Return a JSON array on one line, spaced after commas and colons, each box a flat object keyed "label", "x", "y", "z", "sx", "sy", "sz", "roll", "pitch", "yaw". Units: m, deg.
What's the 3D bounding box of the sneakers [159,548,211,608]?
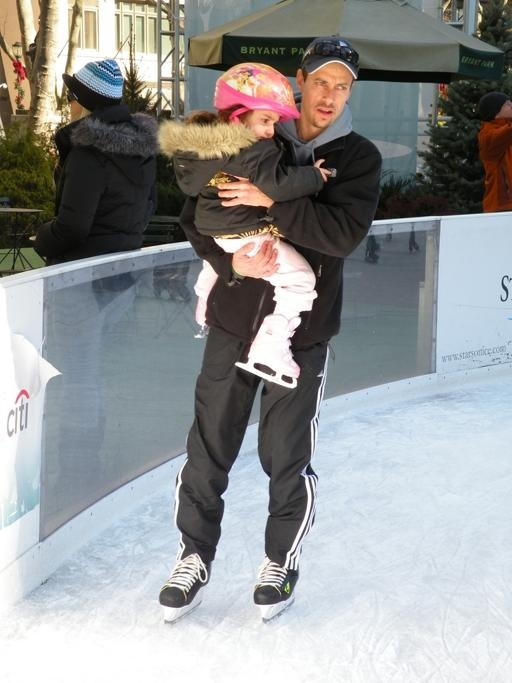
[{"label": "sneakers", "x": -0.208, "y": 0.762, "z": 2.187, "sx": 0.092, "sy": 0.102, "sz": 0.259, "roll": 12, "pitch": 13, "yaw": 10}]

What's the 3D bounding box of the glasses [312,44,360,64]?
[{"label": "glasses", "x": 0.233, "y": -0.846, "z": 1.973, "sx": 0.127, "sy": 0.069, "sz": 0.065, "roll": -2, "pitch": 10, "yaw": -5}]

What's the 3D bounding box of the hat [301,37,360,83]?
[{"label": "hat", "x": 0.221, "y": -0.835, "z": 2.019, "sx": 0.125, "sy": 0.083, "sz": 0.157, "roll": 9, "pitch": 20, "yaw": -13}]

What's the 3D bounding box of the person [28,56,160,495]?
[{"label": "person", "x": -0.682, "y": -0.349, "z": 2.882, "sx": 0.546, "sy": 1.786, "sz": 1.098, "roll": -3, "pitch": 10, "yaw": -7}]

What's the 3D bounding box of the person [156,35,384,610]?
[{"label": "person", "x": -0.036, "y": -0.349, "z": 2.022, "sx": 0.550, "sy": 0.866, "sz": 0.484, "roll": -13, "pitch": 29, "yaw": -33}]

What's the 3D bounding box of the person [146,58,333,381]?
[{"label": "person", "x": -0.009, "y": -0.305, "z": 2.007, "sx": 0.474, "sy": 0.947, "sz": 0.526, "roll": 0, "pitch": 10, "yaw": 5}]
